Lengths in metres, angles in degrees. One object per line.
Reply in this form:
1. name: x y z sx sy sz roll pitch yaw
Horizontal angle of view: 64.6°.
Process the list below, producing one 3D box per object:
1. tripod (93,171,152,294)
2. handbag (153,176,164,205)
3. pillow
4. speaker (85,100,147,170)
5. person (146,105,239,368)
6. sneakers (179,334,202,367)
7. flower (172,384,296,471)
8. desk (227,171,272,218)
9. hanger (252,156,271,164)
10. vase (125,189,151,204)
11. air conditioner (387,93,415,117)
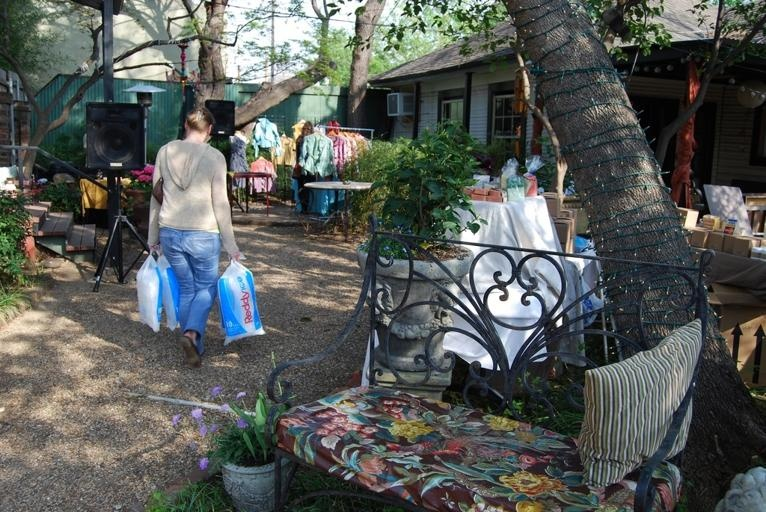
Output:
1. tripod: -3.393 -0.354 7.876 0.639 1.398 2.242 1 7 -23
2. handbag: -2.000 -0.569 5.407 0.059 0.183 0.187 5 -4 -36
3. pillow: 1.461 0.832 3.351 1.069 0.728 0.411 -16 28 -42
4. speaker: -3.443 -1.490 7.898 0.895 1.014 0.809 -2 10 -27
5. person: -1.742 -0.037 5.549 0.588 1.969 0.706 -3 9 -45
6. sneakers: -1.677 0.815 5.336 0.118 0.322 0.137 -3 14 10
7. flower: -1.007 1.171 4.153 0.613 0.494 0.686 3 -1 2
8. desk: -2.972 -1.319 13.729 1.131 0.831 1.071 -4 12 -25
9. hanger: -2.953 -2.308 14.669 0.233 0.244 0.395 0 3 16
10. vase: -3.713 -0.886 9.227 0.433 0.292 0.437 0 0 -24
11. air conditioner: 0.555 -4.416 17.695 0.918 0.618 0.560 6 7 20
